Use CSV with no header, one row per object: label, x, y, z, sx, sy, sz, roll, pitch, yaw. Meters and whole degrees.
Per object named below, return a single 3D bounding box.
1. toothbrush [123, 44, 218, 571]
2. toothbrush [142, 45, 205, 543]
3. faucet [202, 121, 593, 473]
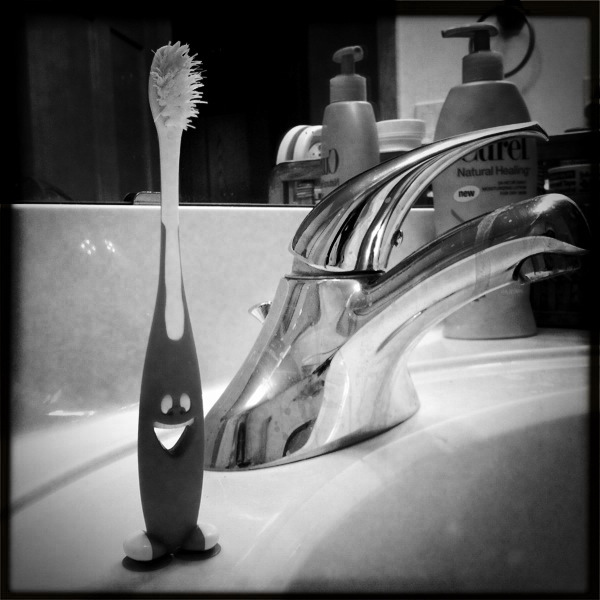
toothbrush,-0.059,0.004,0.278,0.041,0.213,0.037,-3,11,-12
toothbrush,-0.055,-0.001,0.280,0.027,0.204,0.037,-2,11,-7
faucet,0.036,-0.003,0.444,0.252,0.218,0.124,-4,0,13
